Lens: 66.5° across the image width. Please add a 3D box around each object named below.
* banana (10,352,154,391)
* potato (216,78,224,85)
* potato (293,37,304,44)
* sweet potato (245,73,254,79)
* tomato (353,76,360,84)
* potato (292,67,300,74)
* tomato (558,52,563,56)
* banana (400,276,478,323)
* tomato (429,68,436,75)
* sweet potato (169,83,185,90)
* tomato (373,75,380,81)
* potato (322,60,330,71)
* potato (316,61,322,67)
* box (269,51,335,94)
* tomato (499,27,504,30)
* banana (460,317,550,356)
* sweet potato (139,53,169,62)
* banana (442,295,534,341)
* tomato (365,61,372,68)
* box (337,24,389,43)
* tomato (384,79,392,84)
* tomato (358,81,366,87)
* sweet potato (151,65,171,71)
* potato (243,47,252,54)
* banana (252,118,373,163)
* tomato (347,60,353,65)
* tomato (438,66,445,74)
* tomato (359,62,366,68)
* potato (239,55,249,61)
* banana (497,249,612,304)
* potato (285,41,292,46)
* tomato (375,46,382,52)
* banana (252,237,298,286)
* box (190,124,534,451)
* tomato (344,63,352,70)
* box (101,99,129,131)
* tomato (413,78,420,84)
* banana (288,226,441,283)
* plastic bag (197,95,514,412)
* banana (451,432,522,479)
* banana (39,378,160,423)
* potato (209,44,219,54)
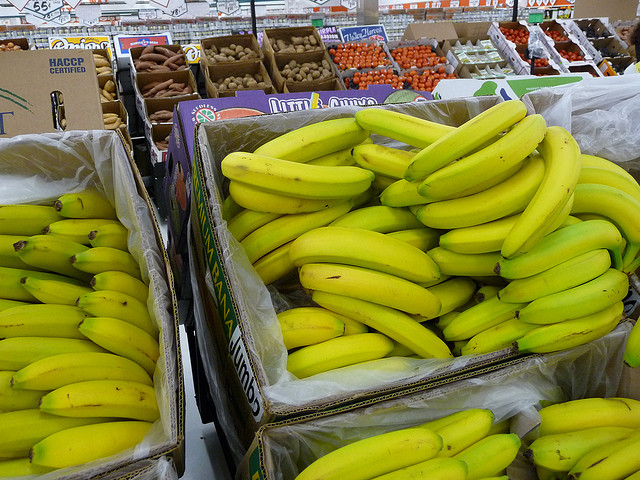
[{"bbox_3d":[-0.598,0.343,1.308,0.380,0.109,0.105,6,30,-23],"label":"banana"},{"bbox_3d":[-0.808,-1.268,3.922,0.053,0.030,0.055,-11,46,24],"label":"potato"},{"bbox_3d":[-0.187,-1.726,4.269,0.071,0.057,0.040,11,5,-13],"label":"potato"},{"bbox_3d":[-0.584,-1.331,3.992,0.063,0.020,0.064,22,33,-27],"label":"sweet potato"},{"bbox_3d":[0.311,-1.333,4.131,0.048,0.049,0.048,-29,0,18],"label":"tomato"},{"bbox_3d":[-0.197,-1.369,3.978,0.043,0.026,0.050,-20,58,-13],"label":"potato"},{"bbox_3d":[2.402,-1.833,4.852,0.040,0.011,0.040,36,69,13],"label":"tomato"},{"bbox_3d":[0.344,0.207,1.673,0.129,0.151,0.455,11,-6,-4],"label":"banana"},{"bbox_3d":[1.012,-1.485,4.375,0.055,0.057,0.056,0,-6,39],"label":"tomato"},{"bbox_3d":[-1.195,-1.279,4.069,0.078,0.033,0.079,1,50,-7],"label":"sweet potato"},{"bbox_3d":[0.485,-1.373,4.169,0.033,0.042,0.069,15,28,43],"label":"tomato"},{"bbox_3d":[0.051,-1.485,4.176,0.048,0.038,0.100,1,56,-43],"label":"potato"},{"bbox_3d":[-0.003,-1.501,4.187,0.043,0.053,0.029,-6,-13,-2],"label":"potato"},{"bbox_3d":[-0.152,-1.410,4.045,0.517,0.243,0.542,-6,51,-10],"label":"box"},{"bbox_3d":[1.874,-2.164,5.037,0.033,0.025,0.025,14,-24,6],"label":"tomato"},{"bbox_3d":[0.550,0.280,1.415,0.173,0.057,0.044,-21,58,5],"label":"banana"},{"bbox_3d":[-1.452,-1.569,4.243,0.259,0.083,0.119,-8,21,-6],"label":"sweet potato"},{"bbox_3d":[0.481,0.254,1.479,0.245,0.065,0.078,-17,35,-6],"label":"banana"},{"bbox_3d":[0.421,-1.517,4.259,0.048,0.050,0.048,-8,-19,43],"label":"tomato"},{"bbox_3d":[0.410,-1.978,4.758,0.464,0.168,0.301,-4,21,2],"label":"box"},{"bbox_3d":[0.594,-1.349,4.217,0.052,0.044,0.042,13,-9,-36],"label":"tomato"},{"bbox_3d":[0.355,-1.287,4.067,0.041,0.043,0.042,-2,-5,10],"label":"tomato"},{"bbox_3d":[-1.364,-1.447,4.146,0.169,0.050,0.043,6,-14,-1],"label":"sweet potato"},{"bbox_3d":[-0.619,-1.594,4.138,0.060,0.034,0.064,30,56,3],"label":"potato"},{"bbox_3d":[-0.018,-0.317,1.586,0.270,0.071,0.091,-20,41,-8],"label":"banana"},{"bbox_3d":[0.265,-1.552,4.290,0.035,0.036,0.033,-6,-9,-3],"label":"tomato"},{"bbox_3d":[1.101,-1.522,4.400,0.071,0.054,0.047,-7,20,-6],"label":"tomato"},{"bbox_3d":[0.372,-1.511,4.258,0.047,0.047,0.046,-16,-13,-19],"label":"tomato"},{"bbox_3d":[-0.632,-1.499,4.053,0.043,0.030,0.054,-10,23,3],"label":"potato"},{"bbox_3d":[0.724,0.122,1.447,0.088,0.113,0.341,-13,-11,-21],"label":"banana"},{"bbox_3d":[-0.279,-1.707,4.279,0.042,0.012,0.043,22,44,7],"label":"potato"},{"bbox_3d":[0.539,-1.756,4.498,0.052,0.050,0.053,3,57,-12],"label":"tomato"},{"bbox_3d":[-0.145,0.081,1.543,0.147,0.113,0.038,-14,30,-4],"label":"banana"},{"bbox_3d":[-0.065,0.231,1.707,0.908,0.957,0.581,-10,-12,-19],"label":"box"},{"bbox_3d":[0.261,-1.496,4.263,0.046,0.047,0.044,-3,-12,-1],"label":"tomato"},{"bbox_3d":[-1.618,-1.015,3.870,0.220,0.222,0.136,-15,-10,-16],"label":"box"},{"bbox_3d":[0.851,-1.388,4.294,0.055,0.041,0.059,-1,21,10],"label":"tomato"},{"bbox_3d":[0.138,0.108,1.533,0.483,0.138,0.149,9,63,5],"label":"banana"},{"bbox_3d":[-0.120,0.048,1.603,0.969,0.917,0.335,-6,-18,-24],"label":"plastic bag"},{"bbox_3d":[0.442,0.561,1.262,0.177,0.079,0.076,-10,21,-12],"label":"banana"},{"bbox_3d":[-0.558,0.398,1.206,0.280,0.075,0.093,3,13,-26],"label":"banana"},{"bbox_3d":[-0.911,-1.628,4.193,0.058,0.107,0.035,-25,-7,-13],"label":"potato"}]
